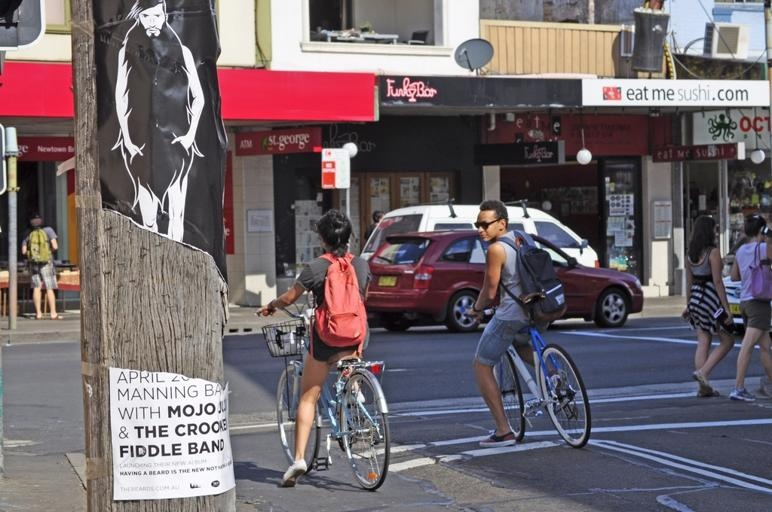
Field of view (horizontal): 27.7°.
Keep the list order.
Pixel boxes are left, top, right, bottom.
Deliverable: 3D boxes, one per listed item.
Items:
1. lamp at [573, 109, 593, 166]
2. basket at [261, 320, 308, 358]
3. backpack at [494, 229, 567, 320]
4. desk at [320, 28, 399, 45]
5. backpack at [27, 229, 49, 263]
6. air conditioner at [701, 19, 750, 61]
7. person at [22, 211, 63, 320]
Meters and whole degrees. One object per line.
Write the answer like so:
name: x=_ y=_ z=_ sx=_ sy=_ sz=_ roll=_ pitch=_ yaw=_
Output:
lamp: x=4.628 y=-2.738 z=36.548 sx=0.372 sy=1.174 sz=1.660 roll=-1 pitch=2 yaw=7
basket: x=-1.304 y=1.067 z=19.977 sx=0.552 sy=0.371 sz=0.396 roll=-1 pitch=0 yaw=-2
backpack: x=1.929 y=0.319 z=20.700 sx=0.817 sy=1.173 sz=0.388 roll=-1 pitch=2 yaw=4
desk: x=-0.629 y=-4.847 z=34.810 sx=2.087 sy=0.382 sz=0.913 roll=-3 pitch=3 yaw=-34
backpack: x=-6.892 y=-0.173 z=30.748 sx=0.598 sy=0.842 sz=0.455 roll=1 pitch=4 yaw=-8
air conditioner: x=8.216 y=-5.186 z=37.917 sx=1.023 sy=0.915 sz=0.559 roll=4 pitch=-8 yaw=-6
person: x=-6.953 y=0.205 z=31.154 sx=0.683 sy=2.107 sz=0.835 roll=-3 pitch=-1 yaw=-23
